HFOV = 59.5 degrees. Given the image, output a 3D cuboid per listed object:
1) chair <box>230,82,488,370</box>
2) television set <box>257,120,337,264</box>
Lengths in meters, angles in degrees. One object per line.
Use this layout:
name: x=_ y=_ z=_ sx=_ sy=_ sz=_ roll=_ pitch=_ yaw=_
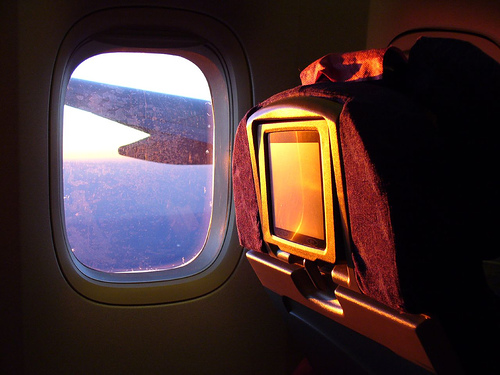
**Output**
chair: x=0.355 y=0.172 z=1.818 sx=0.916 sy=1.238 sz=0.866 roll=-2 pitch=5 yaw=-33
television set: x=0.150 y=-0.003 z=1.352 sx=0.083 sy=0.514 sz=0.423 roll=-6 pitch=6 yaw=-33
